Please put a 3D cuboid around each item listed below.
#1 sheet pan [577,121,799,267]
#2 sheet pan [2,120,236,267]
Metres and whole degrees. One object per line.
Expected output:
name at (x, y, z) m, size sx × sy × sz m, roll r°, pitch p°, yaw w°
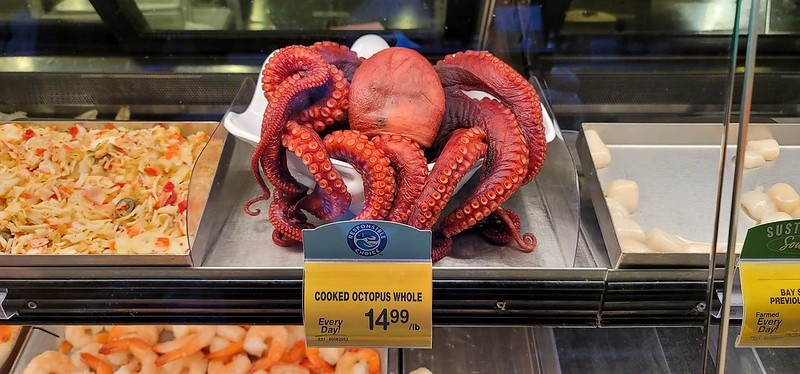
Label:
sheet pan at (1.080, -0.034, 2.302) m, size 0.810 × 0.478 × 0.534 m, roll 1°, pitch 31°, yaw 5°
sheet pan at (-1.025, -0.040, 2.402) m, size 0.765 × 0.402 × 0.673 m, roll 0°, pitch 30°, yaw 3°
